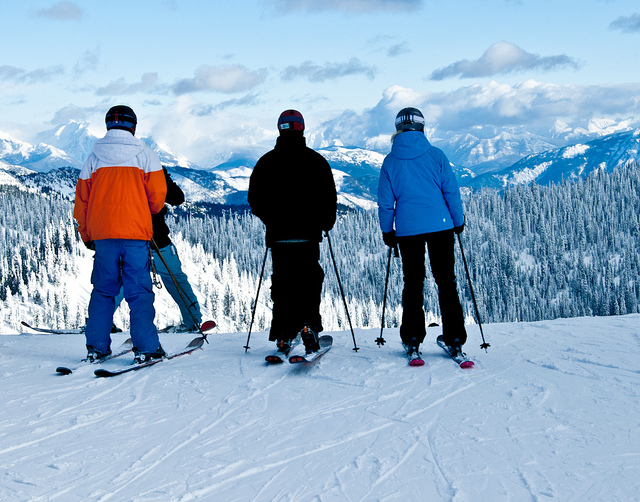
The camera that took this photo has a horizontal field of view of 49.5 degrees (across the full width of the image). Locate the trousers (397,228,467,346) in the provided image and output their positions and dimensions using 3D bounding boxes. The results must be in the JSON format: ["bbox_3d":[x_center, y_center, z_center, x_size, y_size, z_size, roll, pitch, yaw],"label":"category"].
[{"bbox_3d":[1.581,0.444,9.799,0.854,1.750,0.866,0,1,6],"label":"trousers"}]

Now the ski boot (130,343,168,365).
[{"bbox_3d":[-2.361,1.446,9.756,0.585,0.239,0.175,-16,30,-28],"label":"ski boot"}]

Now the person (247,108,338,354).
[{"bbox_3d":[-0.369,-0.247,9.961,1.230,3.489,0.734,-1,8,0],"label":"person"}]

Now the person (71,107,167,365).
[{"bbox_3d":[-2.729,-0.180,9.572,1.201,3.530,0.685,-1,8,-5],"label":"person"}]

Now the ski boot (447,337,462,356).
[{"bbox_3d":[1.931,1.343,9.784,0.123,0.258,0.338,-2,9,-13],"label":"ski boot"}]

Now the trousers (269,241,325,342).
[{"bbox_3d":[-0.334,0.598,9.977,0.781,1.475,0.562,-1,8,-2],"label":"trousers"}]

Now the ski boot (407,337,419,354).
[{"bbox_3d":[1.329,1.340,9.819,0.100,0.253,0.111,2,43,6],"label":"ski boot"}]

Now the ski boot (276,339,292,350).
[{"bbox_3d":[-0.499,1.336,9.960,0.237,0.158,0.157,-4,9,-20],"label":"ski boot"}]

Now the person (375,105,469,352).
[{"bbox_3d":[1.449,-0.303,9.841,1.255,3.402,0.592,1,8,9],"label":"person"}]

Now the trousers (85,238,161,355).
[{"bbox_3d":[-2.738,0.636,9.632,0.952,1.677,0.402,1,8,9],"label":"trousers"}]
